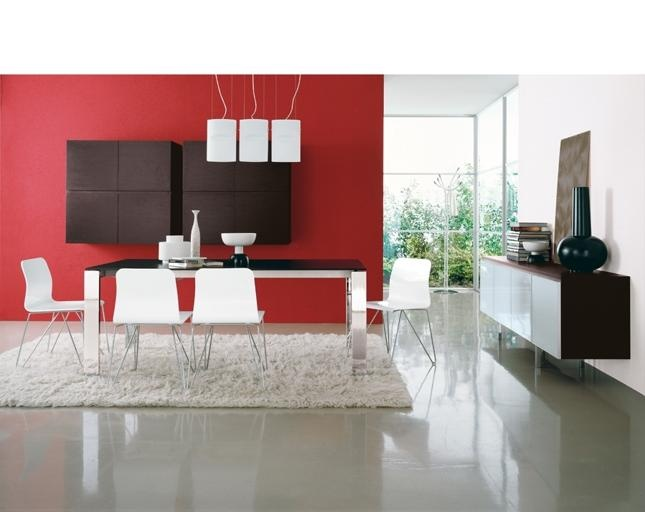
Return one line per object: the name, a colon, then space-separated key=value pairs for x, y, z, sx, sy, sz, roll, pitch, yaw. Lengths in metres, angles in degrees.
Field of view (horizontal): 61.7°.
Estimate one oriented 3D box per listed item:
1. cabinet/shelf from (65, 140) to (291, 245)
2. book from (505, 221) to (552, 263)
cabinet/shelf: x=-1.589 y=-0.701 z=5.887 sx=2.374 sy=1.111 sz=0.272 roll=1 pitch=4 yaw=3
book: x=1.908 y=-0.129 z=4.980 sx=0.400 sy=0.342 sz=0.558 roll=2 pitch=5 yaw=21
